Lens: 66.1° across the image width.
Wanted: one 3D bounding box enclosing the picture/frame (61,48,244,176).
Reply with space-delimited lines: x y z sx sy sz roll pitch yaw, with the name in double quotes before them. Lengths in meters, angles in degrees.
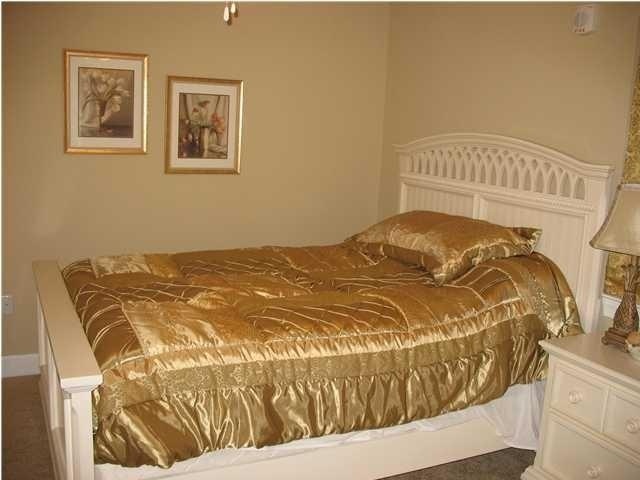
"picture/frame" -1.257 -0.951 3.556 1.034 0.617 0.023 2 8 -28
